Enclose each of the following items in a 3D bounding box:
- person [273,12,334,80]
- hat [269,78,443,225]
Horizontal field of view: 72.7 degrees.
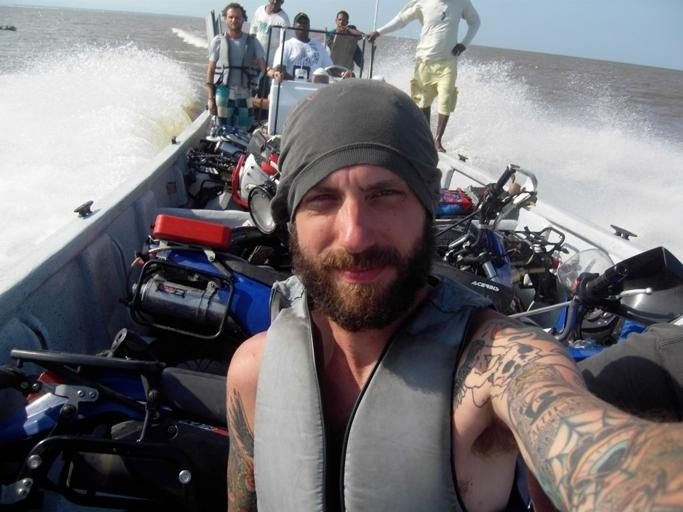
[{"bbox_3d":[-0.486,-2.679,6.012,0.813,1.129,0.574,-3,-7,-12],"label":"person"},{"bbox_3d":[0.035,-0.340,1.526,0.413,0.382,0.427,0,5,1],"label":"hat"}]
